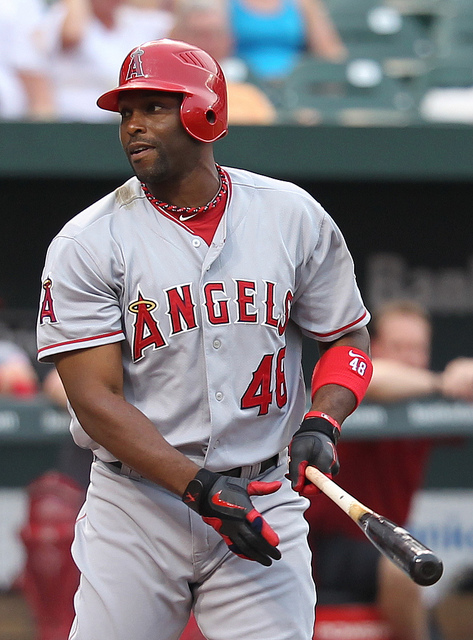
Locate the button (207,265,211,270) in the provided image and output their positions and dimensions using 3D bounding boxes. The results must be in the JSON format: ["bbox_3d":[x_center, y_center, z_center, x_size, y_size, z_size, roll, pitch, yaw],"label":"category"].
[{"bbox_3d":[-0.057,-0.110,1.709,0.002,0.009,0.008,33,50,-15],"label":"button"}]

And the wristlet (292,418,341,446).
[{"bbox_3d":[0.182,0.241,1.782,0.068,0.030,0.075,9,-2,28],"label":"wristlet"}]

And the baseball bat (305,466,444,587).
[{"bbox_3d":[0.230,0.357,1.536,0.066,0.055,0.427,-13,20,-21],"label":"baseball bat"}]

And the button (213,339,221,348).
[{"bbox_3d":[-0.039,0.048,1.694,0.019,0.016,0.006,-19,25,-39],"label":"button"}]

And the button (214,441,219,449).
[{"bbox_3d":[-0.040,0.259,1.711,0.003,0.012,0.013,14,9,23],"label":"button"}]

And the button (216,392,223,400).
[{"bbox_3d":[-0.035,0.156,1.693,0.015,0.015,0.006,-14,23,-29],"label":"button"}]

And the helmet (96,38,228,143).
[{"bbox_3d":[-0.152,-0.488,1.762,0.286,0.221,0.181,-6,20,-8],"label":"helmet"}]

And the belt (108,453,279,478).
[{"bbox_3d":[-0.021,0.323,1.799,0.179,0.052,0.118,-3,-6,9],"label":"belt"}]

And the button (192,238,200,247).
[{"bbox_3d":[-0.084,-0.163,1.740,0.017,0.015,0.015,-5,19,-6],"label":"button"}]

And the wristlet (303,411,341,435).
[{"bbox_3d":[0.189,0.224,1.795,0.055,0.018,0.051,23,14,-25],"label":"wristlet"}]
